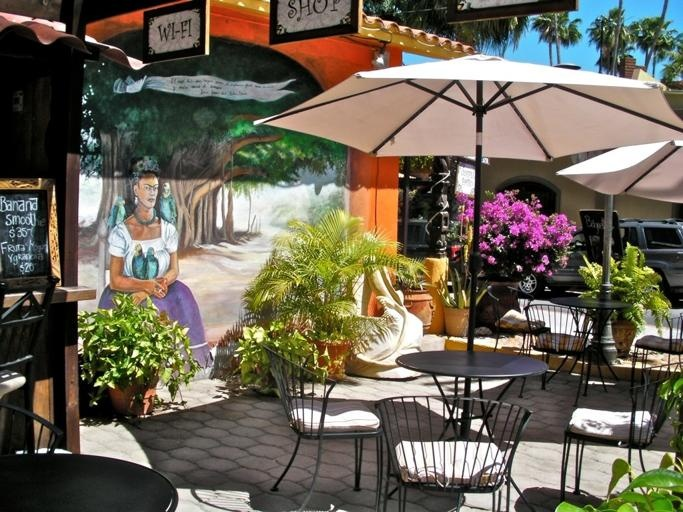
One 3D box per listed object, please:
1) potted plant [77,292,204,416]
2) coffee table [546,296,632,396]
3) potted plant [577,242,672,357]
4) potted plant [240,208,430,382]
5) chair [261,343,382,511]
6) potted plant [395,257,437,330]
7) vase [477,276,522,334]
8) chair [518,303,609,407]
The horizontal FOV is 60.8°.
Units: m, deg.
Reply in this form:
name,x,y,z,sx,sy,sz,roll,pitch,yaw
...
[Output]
name,x,y,z,sx,sy,sz,roll,pitch,yaw
potted plant,-2.023,0.897,5.780,1.068,0.996,1.105,4,-8,45
coffee table,3.047,1.062,7.096,1.022,1.208,1.035,-1,1,-32
potted plant,3.936,0.494,7.885,1.415,1.490,1.444,-4,-1,27
potted plant,0.056,0.385,7.223,2.014,1.771,2.060,0,-3,11
chair,-0.160,1.143,4.375,1.031,1.482,1.066,-1,4,-10
potted plant,1.156,0.624,8.888,0.833,1.135,0.901,0,-4,-7
vase,2.441,0.724,8.803,0.802,0.795,0.806,1,-4,-20
chair,2.655,1.198,6.880,0.856,1.109,0.795,7,11,39
